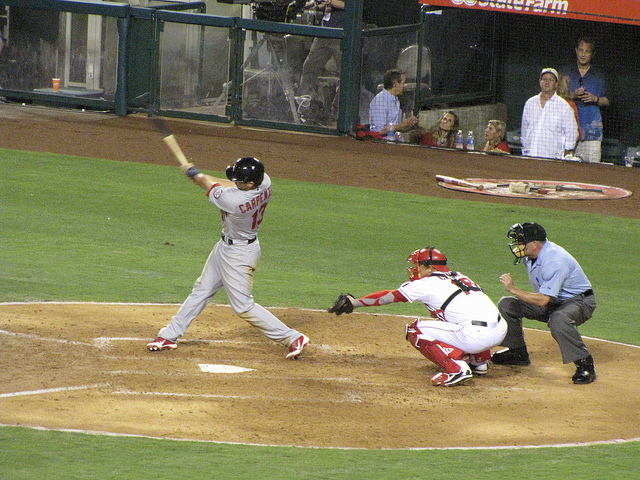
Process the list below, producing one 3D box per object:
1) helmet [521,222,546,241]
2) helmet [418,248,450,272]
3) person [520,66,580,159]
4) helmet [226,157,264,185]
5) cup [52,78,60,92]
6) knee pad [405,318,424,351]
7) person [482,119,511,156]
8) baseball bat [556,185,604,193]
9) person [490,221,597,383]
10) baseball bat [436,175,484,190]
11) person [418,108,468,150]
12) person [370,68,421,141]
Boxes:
[{"bbox_3d":[2.784,-0.108,16.817,0.325,0.214,0.164,4,6,3],"label":"helmet"},{"bbox_3d":[1.450,0.235,16.615,0.394,0.248,0.290,27,24,34],"label":"helmet"},{"bbox_3d":[4.642,-2.499,25.760,1.178,1.766,1.273,6,6,8],"label":"person"},{"bbox_3d":[-0.948,-0.909,16.518,0.545,0.300,0.240,10,-40,-3],"label":"helmet"},{"bbox_3d":[-5.635,-3.306,27.438,0.154,0.265,0.093,5,7,-3],"label":"cup"},{"bbox_3d":[1.223,1.222,16.769,0.210,0.397,0.351,6,6,4],"label":"knee pad"},{"bbox_3d":[3.585,-2.074,26.402,0.759,0.650,1.070,2,7,-7],"label":"person"},{"bbox_3d":[4.749,-0.931,23.720,1.034,0.156,0.125,3,-4,-6],"label":"baseball bat"},{"bbox_3d":[3.046,0.797,16.968,1.423,2.021,0.766,6,7,9],"label":"person"},{"bbox_3d":[2.543,-1.045,23.638,1.000,0.125,0.105,15,-27,41],"label":"baseball bat"},{"bbox_3d":[2.472,-2.267,26.752,0.807,0.707,0.780,4,6,3],"label":"person"},{"bbox_3d":[1.508,-2.846,26.604,1.174,1.578,0.865,-5,40,-3],"label":"person"}]
